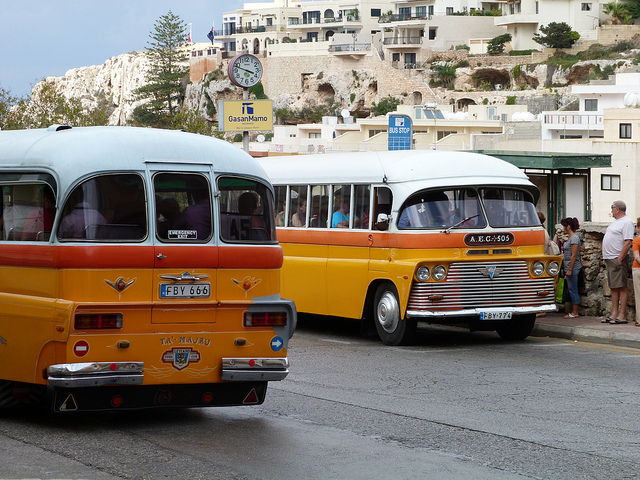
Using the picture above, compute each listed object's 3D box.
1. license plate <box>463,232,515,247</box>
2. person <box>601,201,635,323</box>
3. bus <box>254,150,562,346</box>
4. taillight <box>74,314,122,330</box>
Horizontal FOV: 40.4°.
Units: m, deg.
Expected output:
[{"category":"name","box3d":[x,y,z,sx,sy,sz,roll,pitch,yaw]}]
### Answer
[{"category":"license plate","box3d":[2.769,-0.003,14.297,0.967,0.231,0.100,-1,3,-25]},{"category":"person","box3d":[5.325,0.414,15.604,0.533,2.207,0.827,1,3,18]},{"category":"bus","box3d":[0.842,0.103,17.911,3.047,3.413,8.530,0,0,-26]},{"category":"taillight","box3d":[-2.212,0.817,8.700,0.451,0.147,0.038,-1,3,-24]}]
